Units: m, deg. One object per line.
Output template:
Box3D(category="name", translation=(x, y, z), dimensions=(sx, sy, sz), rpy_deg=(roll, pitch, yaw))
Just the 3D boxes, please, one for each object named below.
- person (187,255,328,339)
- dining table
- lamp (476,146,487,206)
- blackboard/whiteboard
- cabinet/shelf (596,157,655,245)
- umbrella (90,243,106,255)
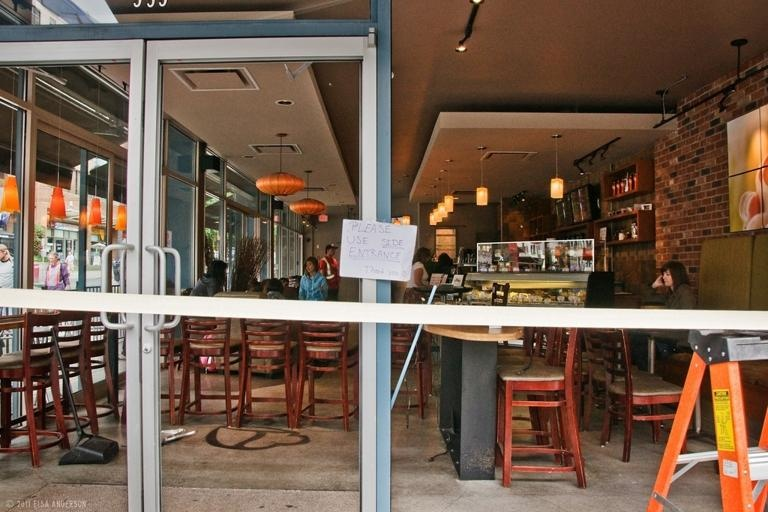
Box3D(category="person", translation=(-1.778, 0.474, 7.946), dimensions=(0.911, 0.946, 0.903), rpy_deg=(1, 1, 6))
Box3D(category="dining table", translation=(0.810, 1.309, 6.261), dimensions=(0.960, 1.270, 1.942), rpy_deg=(3, -2, -1))
Box3D(category="lamp", translation=(1.580, -1.269, 10.361), dimensions=(0.197, 0.911, 0.196), rpy_deg=(0, 3, 10))
Box3D(category="blackboard/whiteboard", translation=(-0.050, -0.039, 4.860), dimensions=(0.575, 0.472, 0.040), rpy_deg=(2, 2, 2))
Box3D(category="cabinet/shelf", translation=(3.841, -0.850, 10.159), dimensions=(0.380, 1.231, 1.411), rpy_deg=(0, -5, 1))
Box3D(category="umbrella", translation=(-3.035, -0.066, 6.814), dimensions=(0.167, 0.138, 0.161), rpy_deg=(0, -6, -2))
